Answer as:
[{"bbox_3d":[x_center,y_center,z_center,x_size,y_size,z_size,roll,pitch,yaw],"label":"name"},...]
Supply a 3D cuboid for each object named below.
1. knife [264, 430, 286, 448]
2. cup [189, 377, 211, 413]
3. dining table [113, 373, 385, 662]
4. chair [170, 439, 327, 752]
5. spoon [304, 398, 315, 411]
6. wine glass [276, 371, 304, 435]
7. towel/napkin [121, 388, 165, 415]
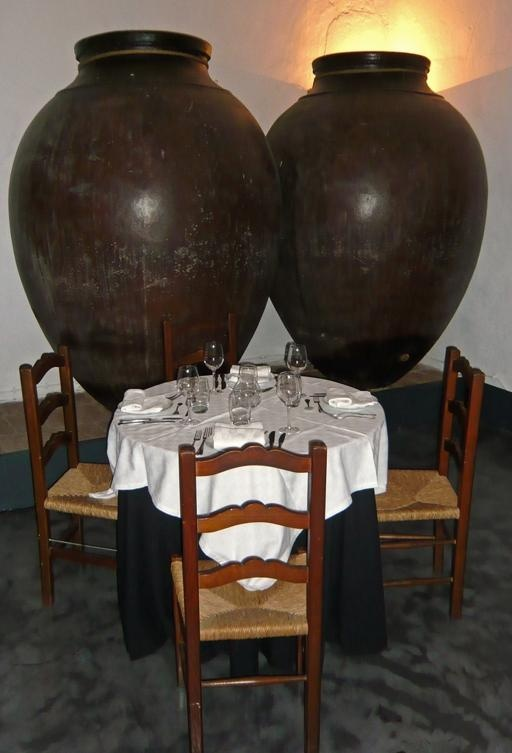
[{"bbox_3d":[0.046,0.153,1.507,0.029,0.047,0.016,1,-12,11],"label":"knife"},{"bbox_3d":[-0.158,0.052,1.752,0.070,0.134,0.079,-3,9,-15],"label":"cup"},{"bbox_3d":[-0.021,0.414,1.653,0.583,0.520,0.649,-3,20,-5],"label":"dining table"},{"bbox_3d":[-0.002,0.452,1.258,0.267,0.741,0.248,1,12,5],"label":"chair"},{"bbox_3d":[0.155,0.078,1.814,0.022,0.029,0.028,-2,52,10],"label":"spoon"},{"bbox_3d":[0.087,0.066,1.645,0.064,0.173,0.061,9,24,27],"label":"wine glass"},{"bbox_3d":[-0.324,0.075,1.782,0.075,0.034,0.084,3,20,2],"label":"towel/napkin"}]
